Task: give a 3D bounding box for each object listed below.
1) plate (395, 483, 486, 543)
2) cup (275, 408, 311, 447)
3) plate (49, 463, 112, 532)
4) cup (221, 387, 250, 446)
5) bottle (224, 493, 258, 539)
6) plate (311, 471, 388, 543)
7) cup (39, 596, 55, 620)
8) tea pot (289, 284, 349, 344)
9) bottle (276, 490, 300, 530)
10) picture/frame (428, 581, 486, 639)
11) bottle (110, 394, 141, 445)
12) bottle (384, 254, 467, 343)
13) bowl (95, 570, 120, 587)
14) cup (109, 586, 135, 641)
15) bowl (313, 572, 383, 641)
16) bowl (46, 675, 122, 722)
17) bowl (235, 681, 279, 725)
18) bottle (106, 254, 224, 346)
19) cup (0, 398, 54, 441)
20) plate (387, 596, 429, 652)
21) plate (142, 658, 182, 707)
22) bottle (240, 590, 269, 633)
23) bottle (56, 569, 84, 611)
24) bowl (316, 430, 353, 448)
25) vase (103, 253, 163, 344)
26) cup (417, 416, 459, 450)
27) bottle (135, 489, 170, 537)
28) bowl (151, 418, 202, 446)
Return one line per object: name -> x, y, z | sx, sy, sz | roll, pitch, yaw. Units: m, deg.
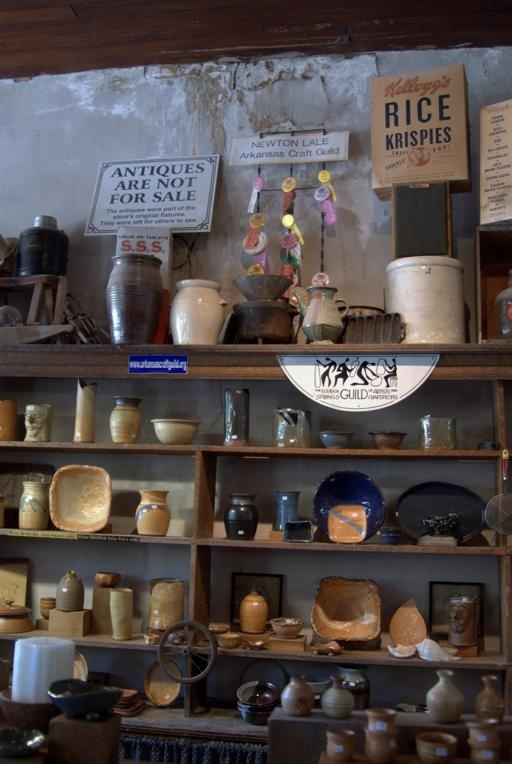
plate -> 0.772, 0.547, 3.025 | 0.369, 0.256, 0.153 | -5, 0, 14
cup -> 0.150, 0.194, 3.026 | 0.127, 0.164, 0.167 | 9, -12, -41
plate -> -0.799, 0.521, 3.229 | 0.273, 0.304, 0.113 | 0, -12, -17
cup -> -0.090, 0.153, 3.100 | 0.117, 0.237, 0.167 | -5, 0, -3
bottle -> -0.066, 0.569, 3.012 | 0.170, 0.202, 0.172 | 6, -21, -20
plate -> 0.396, 0.528, 3.024 | 0.301, 0.292, 0.082 | -4, -11, 22
cup -> -0.958, 1.032, 3.256 | 0.103, 0.105, 0.100 | 0, -18, 0
tea pot -> 0.274, -0.281, 3.078 | 0.273, 0.261, 0.212 | 1, -9, 21
bottle -> 0.124, 0.544, 3.047 | 0.145, 0.192, 0.141 | 3, -17, 1
picture/frame -> 0.821, 0.943, 2.920 | 0.228, 0.227, 0.017 | 0, -11, 26
bottle -> -0.582, 0.170, 3.170 | 0.134, 0.201, 0.160 | -5, 0, -10
bottle -> 0.655, -0.323, 3.082 | 0.365, 0.392, 0.355 | 0, -17, 6
bowl -> -0.670, 0.882, 3.179 | 0.079, 0.042, 0.076 | 1, -20, 0
cup -> -0.579, 0.989, 3.055 | 0.092, 0.207, 0.153 | -5, 0, -15
bowl -> 0.368, 0.940, 2.946 | 0.270, 0.255, 0.192 | -5, 0, 11
bowl -> -0.382, 0.709, 1.581 | 0.138, 0.084, 0.123 | -5, 0, -42
bowl -> 0.010, 1.248, 2.822 | 0.152, 0.094, 0.159 | 1, -2, 0
bottle -> -0.385, -0.309, 3.310 | 0.466, 0.628, 0.448 | -1, -18, 0
cup -> -1.078, 0.184, 3.343 | 0.205, 0.134, 0.086 | 0, -14, -1
plate -> 0.606, 0.996, 2.889 | 0.149, 0.214, 0.357 | -5, 0, 10
plate -> -0.409, 1.283, 3.004 | 0.200, 0.204, 0.036 | -9, -16, 13
bottle -> -0.011, 0.962, 2.965 | 0.147, 0.207, 0.138 | 1, -17, 0
bottle -> -0.809, 0.904, 3.106 | 0.150, 0.205, 0.147 | 0, -5, 0
bowl -> 0.328, 0.246, 3.009 | 0.115, 0.073, 0.100 | -5, 0, -24
vase -> -0.534, -0.363, 3.139 | 0.239, 0.384, 0.181 | -5, 0, -10
cup -> 0.744, 0.219, 2.945 | 0.125, 0.131, 0.141 | -5, -10, 39
bottle -> -0.428, 0.586, 3.166 | 0.185, 0.228, 0.181 | -1, -24, 0
bowl -> -0.383, 0.222, 3.195 | 0.191, 0.110, 0.284 | -5, 0, -25
